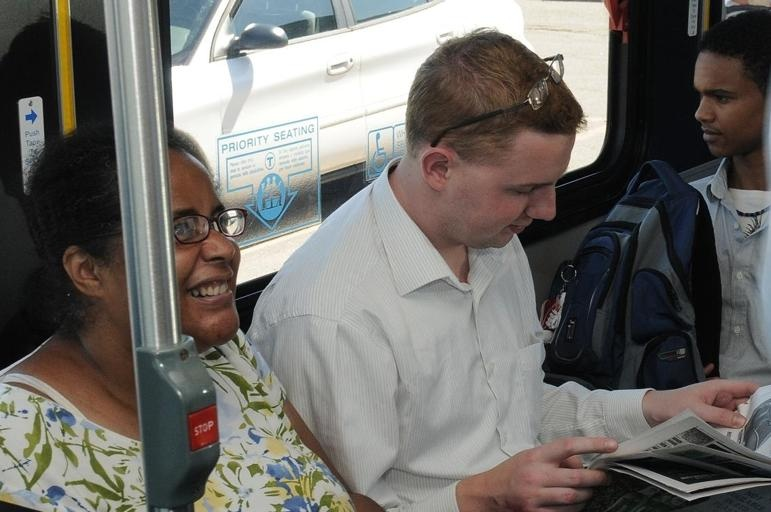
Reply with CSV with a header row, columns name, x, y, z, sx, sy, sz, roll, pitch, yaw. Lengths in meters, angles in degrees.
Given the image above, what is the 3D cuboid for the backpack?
name,x,y,z,sx,sy,sz,roll,pitch,yaw
backpack,0.840,0.094,3.235,0.455,0.777,0.594,16,4,-24
